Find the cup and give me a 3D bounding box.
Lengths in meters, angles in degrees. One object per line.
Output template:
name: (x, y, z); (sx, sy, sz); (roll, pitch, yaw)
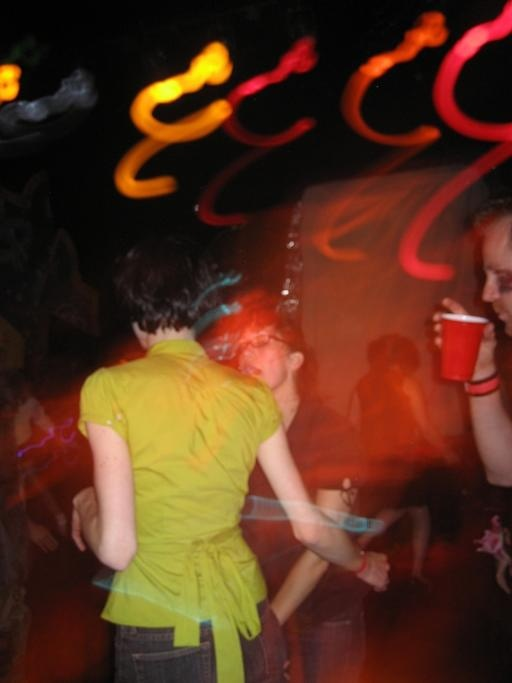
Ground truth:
cup: (0.643, 0.015, 1.946); (0.157, 0.184, 0.152); (5, 8, -1)
